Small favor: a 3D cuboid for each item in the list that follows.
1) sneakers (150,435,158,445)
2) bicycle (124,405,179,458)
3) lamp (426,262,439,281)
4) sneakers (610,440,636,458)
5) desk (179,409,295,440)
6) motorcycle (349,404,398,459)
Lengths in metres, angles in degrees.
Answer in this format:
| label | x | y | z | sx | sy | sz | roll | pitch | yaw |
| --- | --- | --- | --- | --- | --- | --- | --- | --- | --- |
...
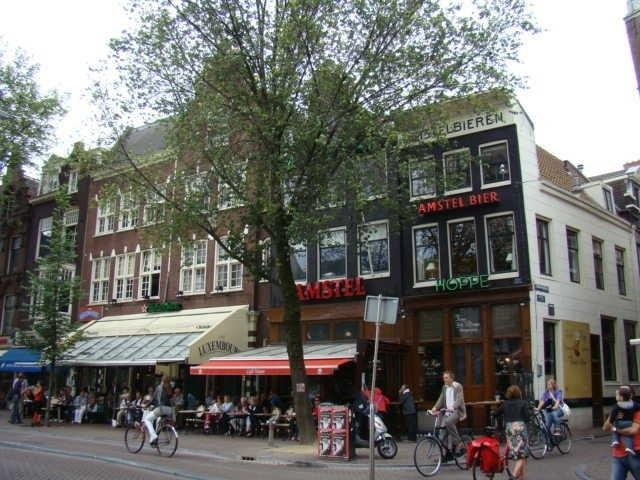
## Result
| label | x | y | z | sx | sy | sz | roll | pitch | yaw |
| --- | --- | --- | --- | --- | --- | --- | --- | --- | --- |
| sneakers | -4.730 | 5.758 | 15.535 | 0.263 | 0.183 | 0.152 | -9 | -21 | 34 |
| bicycle | -5.083 | 5.742 | 16.295 | 0.850 | 1.206 | 2.022 | -21 | -32 | 32 |
| lamp | 4.878 | 1.351 | 23.936 | 0.646 | 0.834 | 0.679 | -7 | -8 | 11 |
| sneakers | 5.554 | 3.847 | 10.007 | 0.314 | 0.239 | 0.258 | -3 | 22 | 16 |
| desk | -3.967 | 8.066 | 24.103 | 7.297 | 1.073 | 1.957 | -11 | -16 | 33 |
| motorcycle | 1.417 | 5.823 | 16.579 | 1.111 | 1.428 | 2.140 | 18 | -25 | -40 |
